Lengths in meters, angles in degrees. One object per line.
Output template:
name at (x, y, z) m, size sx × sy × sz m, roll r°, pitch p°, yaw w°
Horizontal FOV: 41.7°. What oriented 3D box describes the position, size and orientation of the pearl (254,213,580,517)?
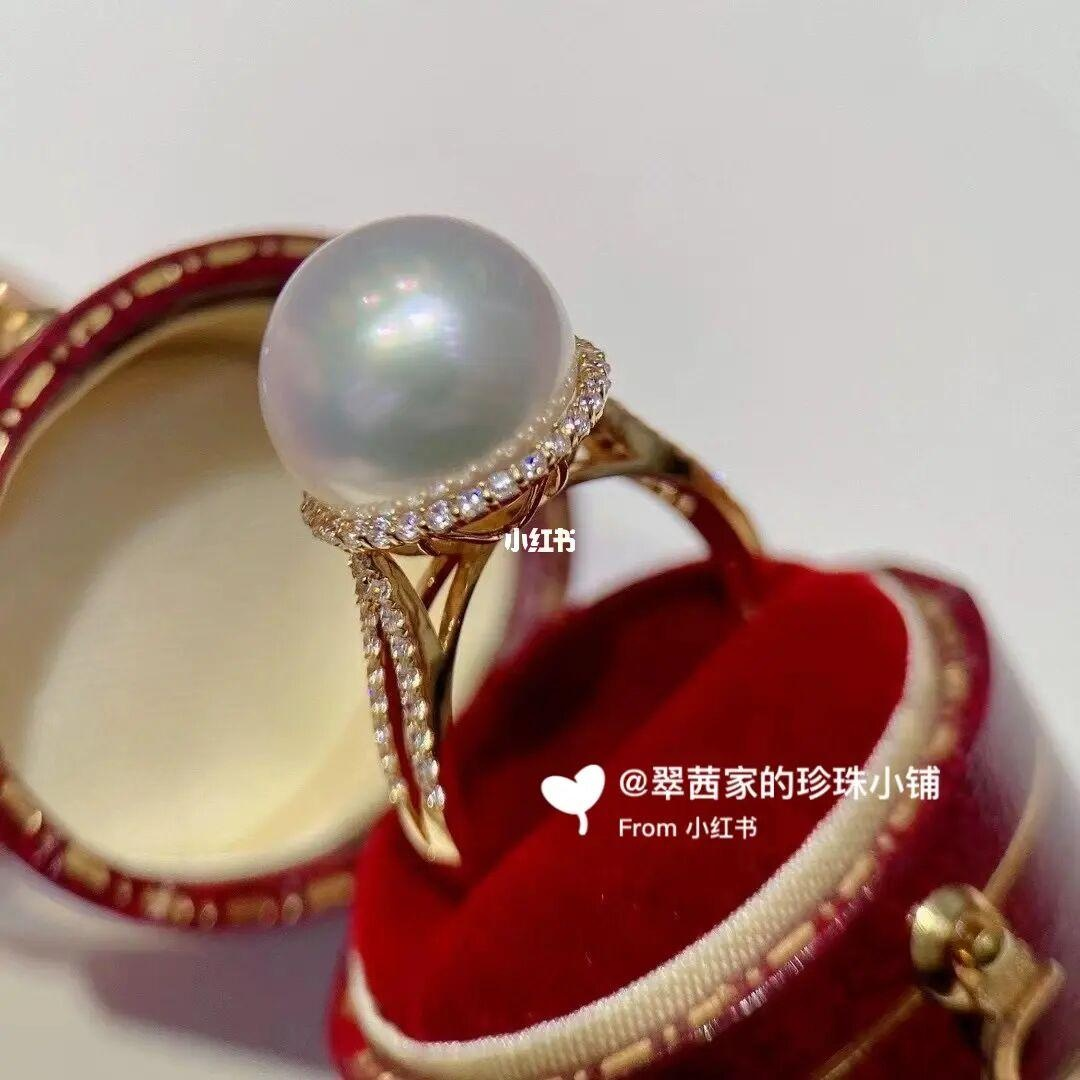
pearl at (-0.051, -0.072, 0.571) m, size 0.107 × 0.066 × 0.122 m, roll 9°, pitch 80°, yaw 15°
